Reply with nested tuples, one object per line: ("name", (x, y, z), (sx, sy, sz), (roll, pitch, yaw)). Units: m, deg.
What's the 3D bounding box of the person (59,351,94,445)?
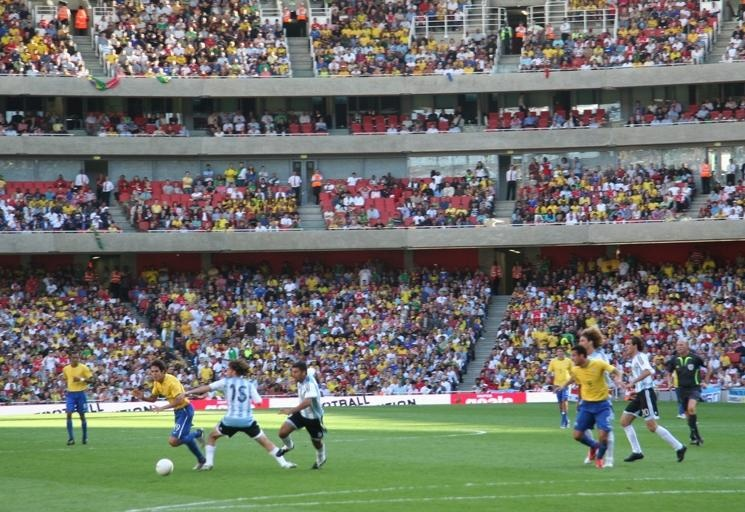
("person", (-11.651, 5.538, 72.074), (1.140, 3.656, 1.560), (-2, -3, -17))
